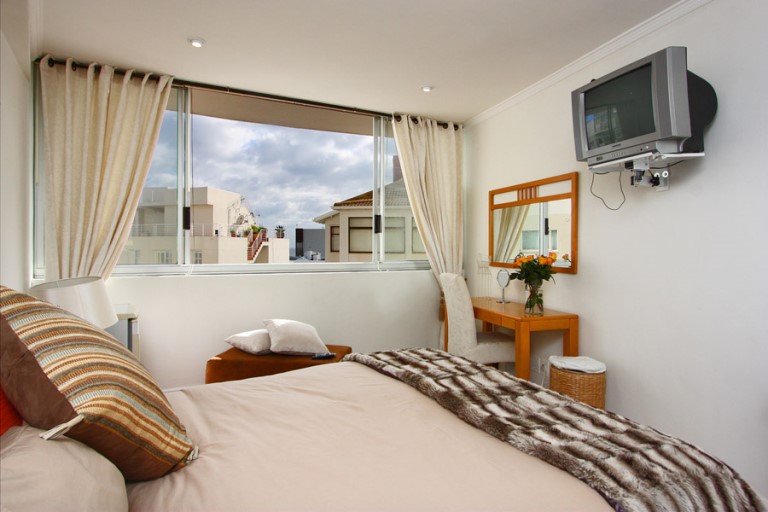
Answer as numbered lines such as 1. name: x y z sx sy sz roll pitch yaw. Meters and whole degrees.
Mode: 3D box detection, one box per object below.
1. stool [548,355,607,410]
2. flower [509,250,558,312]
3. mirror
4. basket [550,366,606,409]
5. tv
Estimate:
1. stool: 1.533 0.973 4.034 0.426 0.438 0.421 0 0 -3
2. flower: 1.329 0.235 4.651 0.482 0.573 0.471 -2 4 -20
3. mirror: 1.426 -0.276 4.862 0.082 0.907 1.148 -2 1 -29
4. basket: 1.559 1.019 3.979 0.371 0.288 0.375 1 -5 -3
5. tv: 1.931 -0.863 3.640 0.714 0.721 0.993 -5 2 -23
